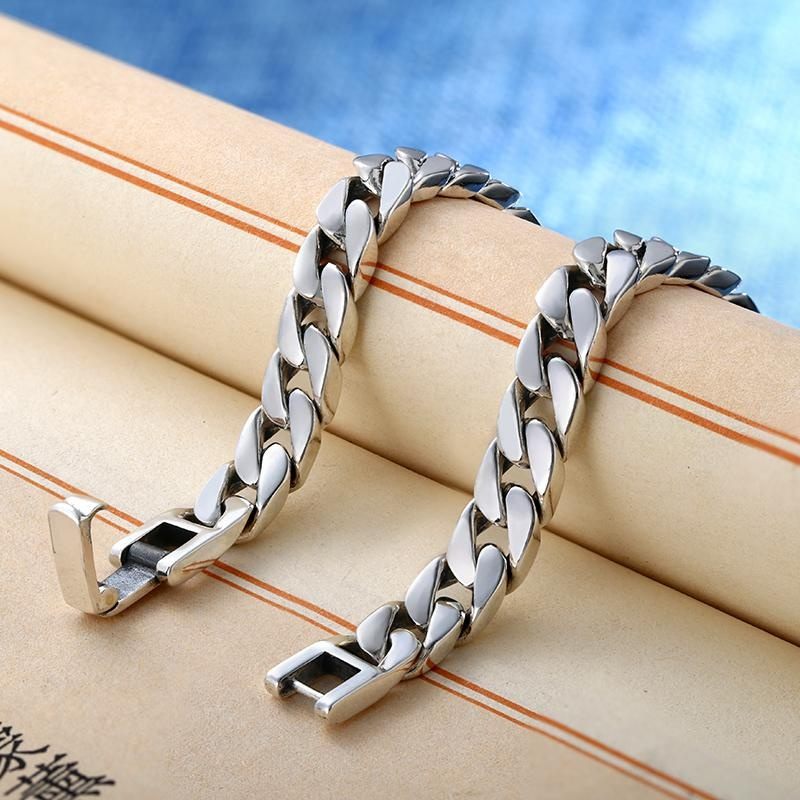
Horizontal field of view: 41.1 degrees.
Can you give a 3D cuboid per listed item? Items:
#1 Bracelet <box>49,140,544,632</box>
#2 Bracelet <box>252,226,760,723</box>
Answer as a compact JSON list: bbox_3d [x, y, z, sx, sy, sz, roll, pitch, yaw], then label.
[{"bbox_3d":[-0.070,-0.045,0.873,0.145,0.532,0.159,42,-14,24],"label":"Bracelet"},{"bbox_3d":[0.100,0.037,0.814,0.157,0.482,0.091,41,-3,18],"label":"Bracelet"}]
